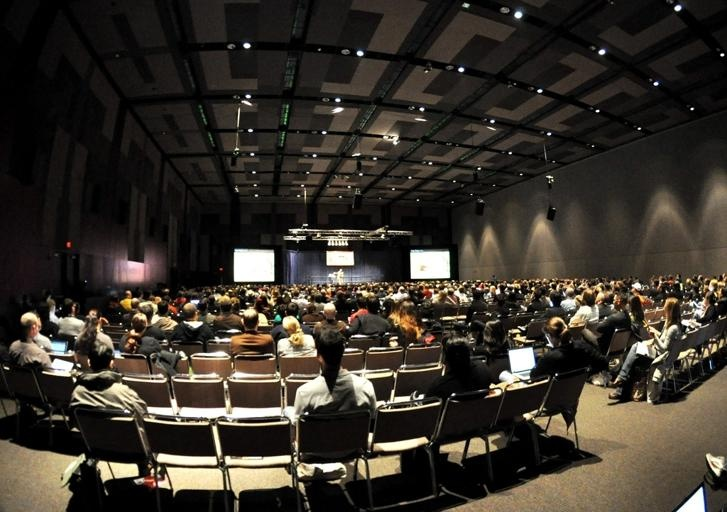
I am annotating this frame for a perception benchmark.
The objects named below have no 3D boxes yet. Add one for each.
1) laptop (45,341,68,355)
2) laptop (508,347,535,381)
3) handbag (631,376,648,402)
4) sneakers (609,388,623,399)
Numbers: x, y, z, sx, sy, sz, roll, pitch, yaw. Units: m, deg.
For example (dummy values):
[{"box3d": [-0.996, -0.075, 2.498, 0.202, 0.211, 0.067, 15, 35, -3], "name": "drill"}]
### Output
[{"box3d": [-5.972, 1.791, 9.168, 0.334, 0.236, 0.238, 2, -7, -23], "name": "laptop"}, {"box3d": [2.835, 1.906, 8.451, 0.567, 0.372, 0.439, 1, -5, -24], "name": "laptop"}, {"box3d": [5.370, 2.627, 9.162, 0.273, 0.442, 0.447, -7, -14, 39], "name": "handbag"}, {"box3d": [4.954, 2.740, 9.351, 0.388, 0.169, 0.144, 2, -2, -14], "name": "sneakers"}]
